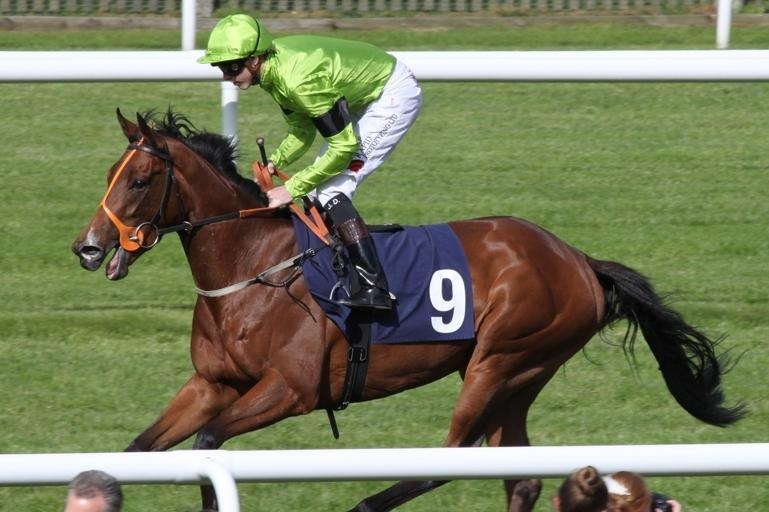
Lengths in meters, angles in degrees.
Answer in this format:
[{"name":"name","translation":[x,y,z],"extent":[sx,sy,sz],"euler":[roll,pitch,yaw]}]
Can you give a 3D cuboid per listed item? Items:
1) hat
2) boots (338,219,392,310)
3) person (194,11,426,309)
[{"name":"hat","translation":[-0.688,-0.998,6.043],"extent":[0.386,0.126,0.236],"euler":[-5,2,-9]},{"name":"boots","translation":[-0.092,0.027,5.960],"extent":[0.236,0.386,0.208],"euler":[-1,13,-2]},{"name":"person","translation":[-0.339,-0.457,6.069],"extent":[0.983,1.294,0.613],"euler":[0,13,3]}]
